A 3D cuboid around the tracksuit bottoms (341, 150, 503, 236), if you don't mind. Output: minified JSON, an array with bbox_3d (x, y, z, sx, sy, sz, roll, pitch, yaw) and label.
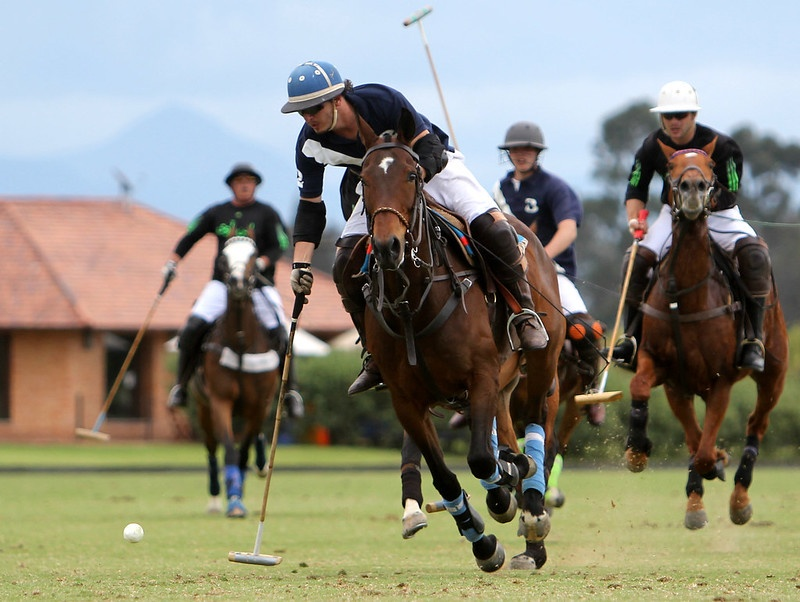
[{"bbox_3d":[0.161,-0.847,11.414,0.985,0.478,0.993,-7,15,27],"label":"tracksuit bottoms"}]

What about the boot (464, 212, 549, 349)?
[{"bbox_3d":[0.941,-0.145,11.877,0.399,1.486,0.553,-16,25,17],"label":"boot"}]

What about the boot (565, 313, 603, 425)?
[{"bbox_3d":[1.921,0.700,14.809,0.315,1.164,0.692,-6,4,6],"label":"boot"}]

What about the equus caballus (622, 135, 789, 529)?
[{"bbox_3d":[2.866,0.363,13.556,1.138,3.654,1.798,-2,-4,31],"label":"equus caballus"}]

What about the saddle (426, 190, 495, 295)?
[{"bbox_3d":[0.506,-0.441,11.704,0.187,0.919,0.254,-41,-12,30],"label":"saddle"}]

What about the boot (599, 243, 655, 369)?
[{"bbox_3d":[2.327,0.070,13.979,0.366,1.376,0.803,5,7,-6],"label":"boot"}]

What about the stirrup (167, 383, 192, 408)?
[{"bbox_3d":[-2.547,1.079,16.448,0.218,0.294,0.115,-7,-39,34],"label":"stirrup"}]

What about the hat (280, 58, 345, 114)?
[{"bbox_3d":[-0.758,-1.824,11.818,0.628,0.333,0.506,-24,20,-25],"label":"hat"}]
